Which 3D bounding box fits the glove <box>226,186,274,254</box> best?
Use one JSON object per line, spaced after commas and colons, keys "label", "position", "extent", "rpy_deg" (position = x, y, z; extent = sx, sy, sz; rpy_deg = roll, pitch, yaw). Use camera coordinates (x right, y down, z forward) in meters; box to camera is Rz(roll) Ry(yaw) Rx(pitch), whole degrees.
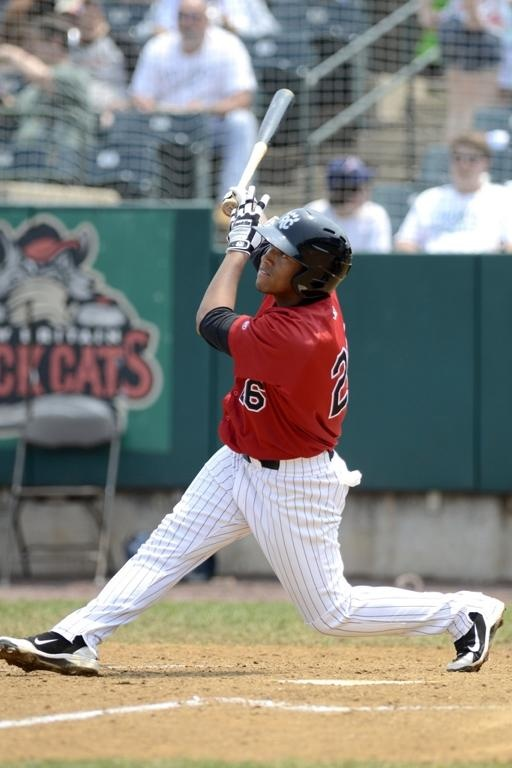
{"label": "glove", "position": [-0.025, -0.548, 4.542], "extent": [0.171, 0.224, 0.071], "rpy_deg": [13, -25, -29]}

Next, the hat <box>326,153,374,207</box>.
{"label": "hat", "position": [0.475, -1.093, 7.444], "extent": [0.277, 0.312, 0.335], "rpy_deg": [0, 7, 0]}

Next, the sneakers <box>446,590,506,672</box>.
{"label": "sneakers", "position": [0.748, 0.832, 4.689], "extent": [0.171, 0.334, 0.116], "rpy_deg": [13, 13, -4]}

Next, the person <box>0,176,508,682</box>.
{"label": "person", "position": [0.038, 0.150, 4.502], "extent": [1.506, 1.329, 0.587], "rpy_deg": [1, 0, 9]}
